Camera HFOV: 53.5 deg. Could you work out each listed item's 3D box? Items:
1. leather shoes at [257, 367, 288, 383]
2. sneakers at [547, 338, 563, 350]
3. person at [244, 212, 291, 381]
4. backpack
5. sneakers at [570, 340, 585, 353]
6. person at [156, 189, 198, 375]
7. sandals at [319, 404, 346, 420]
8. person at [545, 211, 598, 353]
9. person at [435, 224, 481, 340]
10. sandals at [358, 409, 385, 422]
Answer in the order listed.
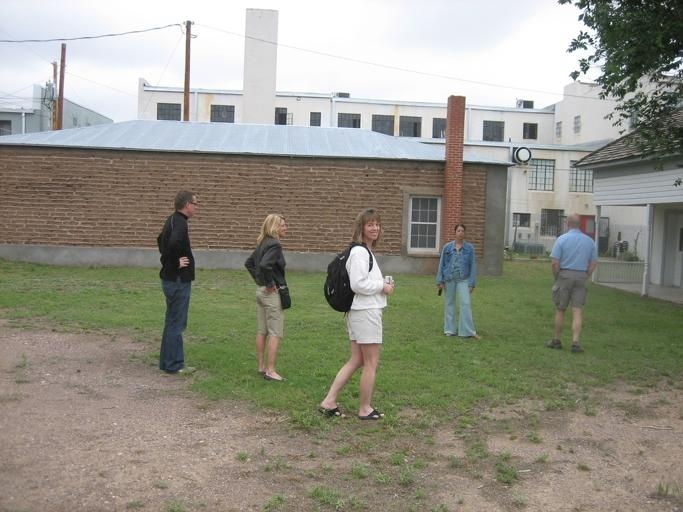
[{"bbox_3d":[-1.004,1.684,9.633,0.396,0.161,0.143,4,2,21],"label":"leather shoes"},{"bbox_3d":[3.671,1.510,11.645,0.142,0.162,0.260,2,7,-9],"label":"sneakers"},{"bbox_3d":[-1.044,0.587,9.753,0.605,2.264,0.997,0,11,-8],"label":"person"},{"bbox_3d":[0.091,0.268,8.254,0.594,0.835,0.341,3,11,5],"label":"backpack"},{"bbox_3d":[3.981,1.511,11.351,0.210,0.158,0.219,4,11,9],"label":"sneakers"},{"bbox_3d":[-2.392,0.380,9.855,0.545,2.556,0.697,-1,11,-13],"label":"person"},{"bbox_3d":[-0.110,1.950,8.481,0.350,0.130,0.149,11,-31,-24],"label":"sandals"},{"bbox_3d":[3.920,0.463,11.520,0.719,2.290,0.853,6,12,22],"label":"person"},{"bbox_3d":[2.181,0.433,12.398,0.839,2.045,0.626,6,12,19],"label":"person"},{"bbox_3d":[0.384,1.983,8.473,0.331,0.135,0.123,1,-1,-6],"label":"sandals"}]
